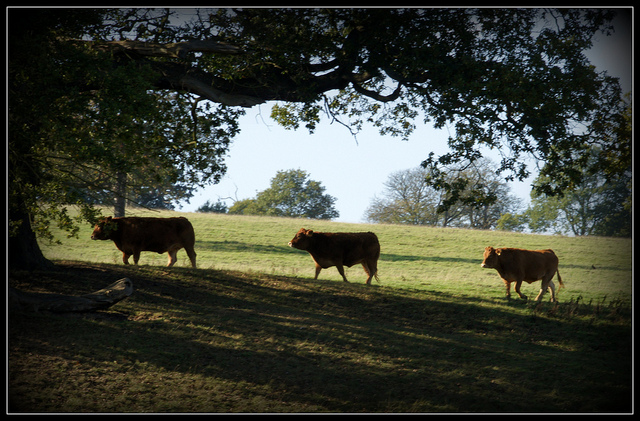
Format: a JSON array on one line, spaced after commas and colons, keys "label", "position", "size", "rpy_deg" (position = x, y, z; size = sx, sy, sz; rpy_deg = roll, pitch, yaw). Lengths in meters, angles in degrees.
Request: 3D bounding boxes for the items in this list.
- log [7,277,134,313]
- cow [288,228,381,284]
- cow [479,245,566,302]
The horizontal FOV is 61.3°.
[{"label": "log", "position": [-7.780, 2.714, 16.973], "size": [3.419, 1.012, 0.675], "rpy_deg": [3, 7, -23]}, {"label": "cow", "position": [0.794, 2.115, 24.226], "size": [4.781, 2.482, 1.428], "rpy_deg": [4, -12, -36]}, {"label": "cow", "position": [8.300, 2.642, 22.195], "size": [4.198, 2.241, 1.203], "rpy_deg": [5, -9, -23]}]
